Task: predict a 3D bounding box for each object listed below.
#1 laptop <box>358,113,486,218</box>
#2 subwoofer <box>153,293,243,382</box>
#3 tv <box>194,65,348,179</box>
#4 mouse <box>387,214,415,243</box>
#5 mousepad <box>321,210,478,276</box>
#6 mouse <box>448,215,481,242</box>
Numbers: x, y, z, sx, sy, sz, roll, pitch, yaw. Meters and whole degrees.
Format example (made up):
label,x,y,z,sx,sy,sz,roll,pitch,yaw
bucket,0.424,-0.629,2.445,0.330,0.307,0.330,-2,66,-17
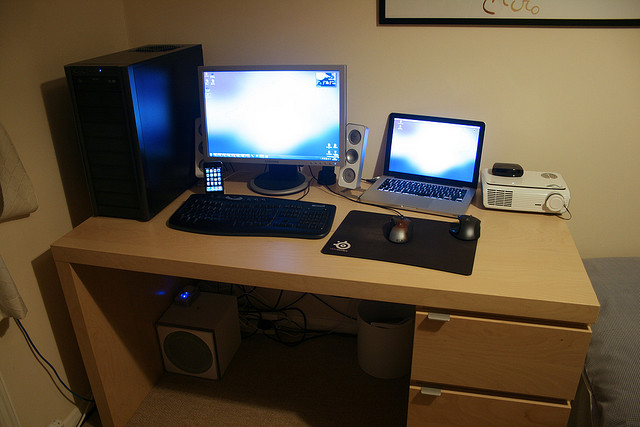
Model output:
label,x,y,z,sx,sy,sz,roll,pitch,yaw
laptop,0.480,-0.239,2.324,0.503,0.302,0.460,13,32,29
subwoofer,-0.605,0.618,2.771,0.407,0.423,0.419,3,25,10
tv,-0.236,-0.458,2.366,0.547,0.399,0.165,2,22,2
mouse,0.347,0.051,2.156,0.112,0.057,0.193,9,38,2
mousepad,0.363,0.116,2.152,0.603,0.032,0.420,8,29,18
mouse,0.639,0.042,2.157,0.124,0.051,0.163,10,40,10
